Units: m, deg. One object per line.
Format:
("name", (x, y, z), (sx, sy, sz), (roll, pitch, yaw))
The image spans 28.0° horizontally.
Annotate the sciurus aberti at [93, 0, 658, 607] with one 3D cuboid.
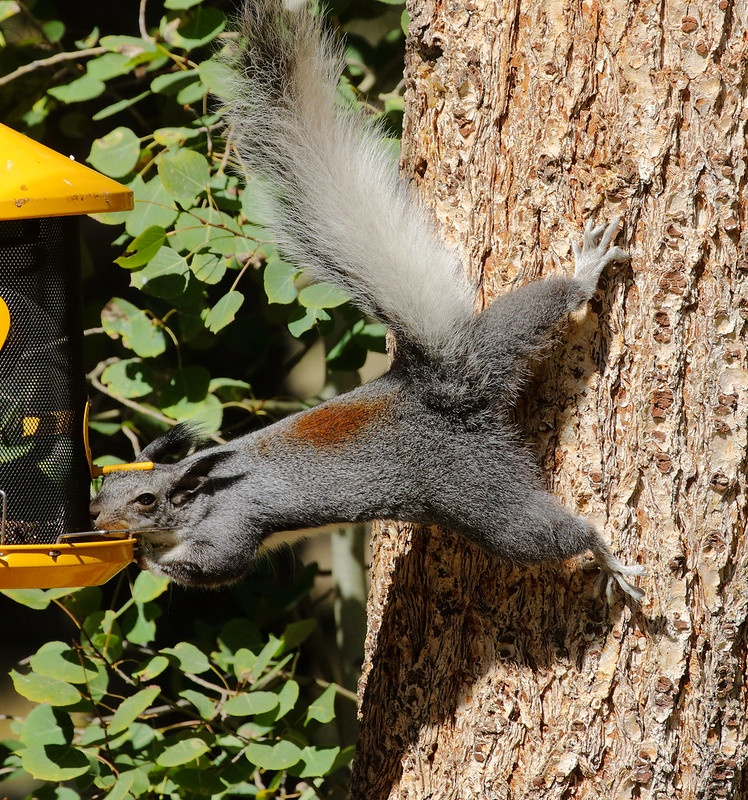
("sciurus aberti", (-0.001, -0.225, 3.969), (1.329, 1.295, 0.986), (11, 39, 17))
